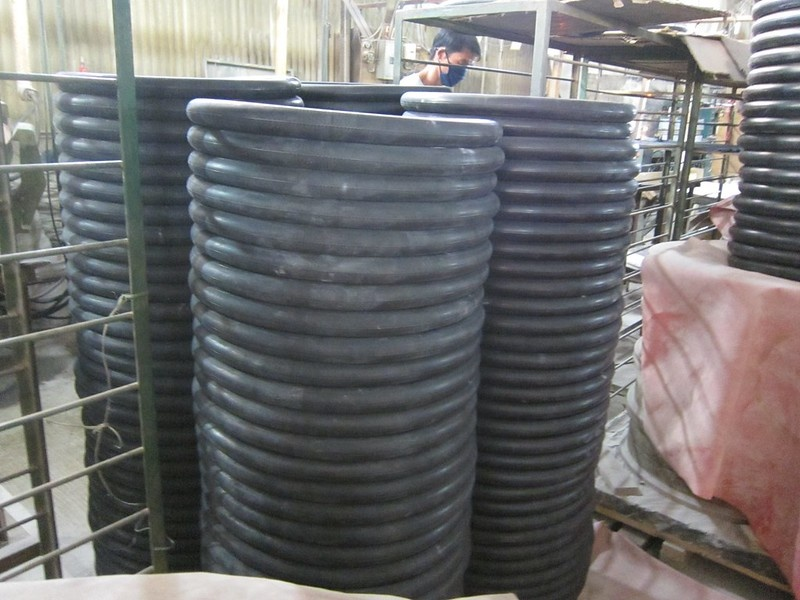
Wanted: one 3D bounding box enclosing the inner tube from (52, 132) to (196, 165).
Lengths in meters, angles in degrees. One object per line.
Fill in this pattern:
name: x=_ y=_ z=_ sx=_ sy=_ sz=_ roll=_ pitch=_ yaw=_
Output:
inner tube: x=-0.761 y=-0.430 z=1.912 sx=0.253 sy=0.035 sz=0.209 roll=1 pitch=6 yaw=4
